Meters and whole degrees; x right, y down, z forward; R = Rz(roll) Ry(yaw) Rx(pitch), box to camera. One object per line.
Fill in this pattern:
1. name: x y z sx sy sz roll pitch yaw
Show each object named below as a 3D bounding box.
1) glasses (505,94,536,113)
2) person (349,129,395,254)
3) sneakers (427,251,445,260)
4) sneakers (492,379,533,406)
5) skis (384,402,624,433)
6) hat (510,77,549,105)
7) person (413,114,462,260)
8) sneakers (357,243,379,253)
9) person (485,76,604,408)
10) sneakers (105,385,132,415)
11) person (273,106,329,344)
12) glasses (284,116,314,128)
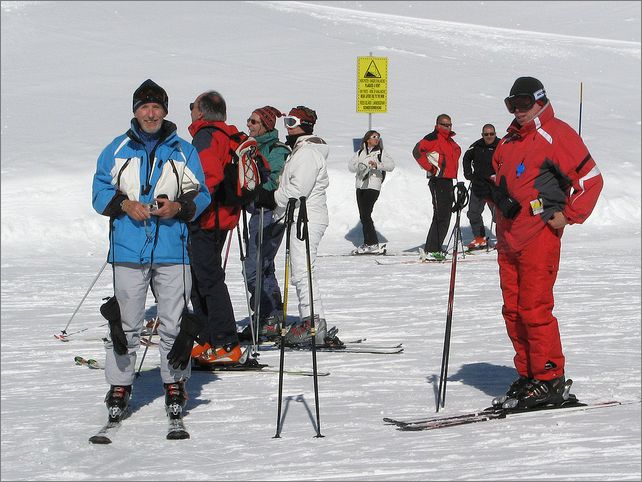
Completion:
1. glasses: 1.696 -1.184 8.342 0.168 0.088 0.212 -10 2 44
2. person: 0.868 -0.825 16.766 0.725 2.070 1.390 -1 13 1
3. sneakers: 1.850 0.250 15.625 0.328 0.100 0.128 -5 -35 -13
4. sneakers: 1.671 1.327 8.529 0.348 0.133 0.102 -26 26 -19
5. skis: 1.499 1.474 8.284 1.907 0.110 0.254 -2 12 -8
6. hat: 1.795 -1.314 8.419 0.298 0.203 0.277 2 13 15
7. person: 1.897 -0.863 15.935 0.713 2.319 1.328 0 13 7
8. sneakers: 0.787 0.127 16.362 0.379 0.129 0.227 -1 12 1
9. person: 1.876 0.008 8.388 0.915 2.777 0.751 -1 14 0
10. sneakers: -1.676 1.341 8.179 0.130 0.131 0.314 0 34 -1
11. person: -0.186 -0.126 10.202 0.600 2.498 1.218 -2 13 -1
12. glasses: -0.230 -1.261 10.338 0.233 0.071 0.158 3 5 -6
